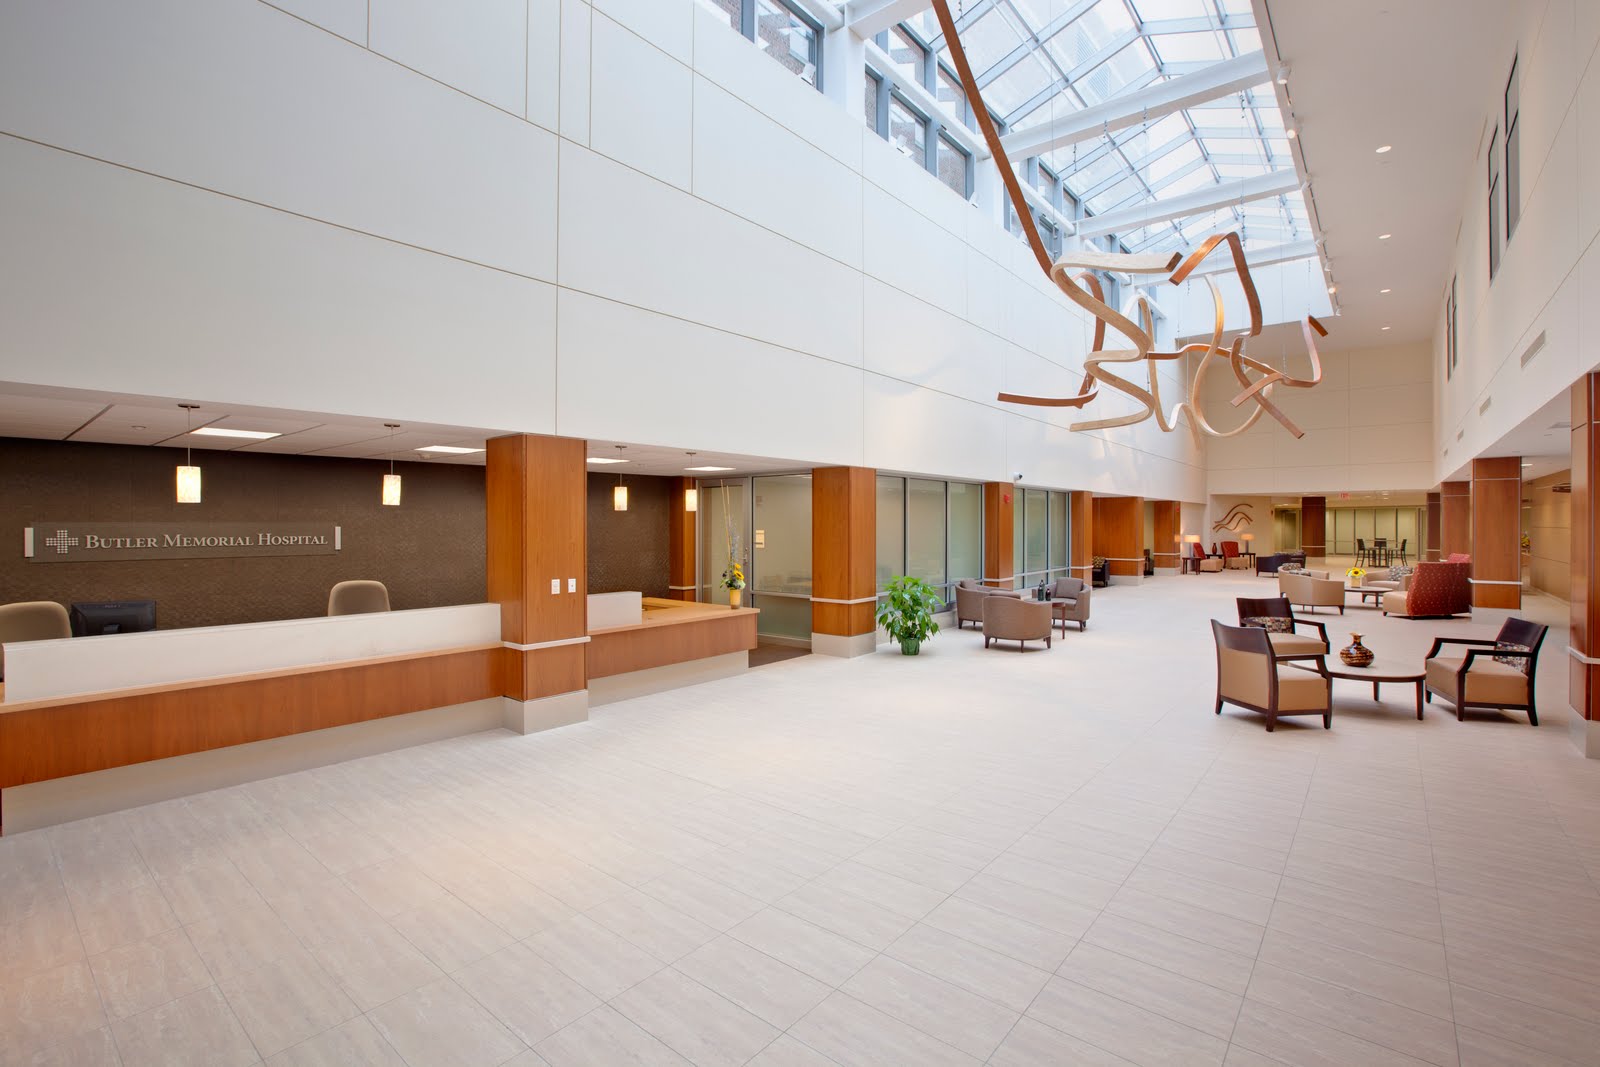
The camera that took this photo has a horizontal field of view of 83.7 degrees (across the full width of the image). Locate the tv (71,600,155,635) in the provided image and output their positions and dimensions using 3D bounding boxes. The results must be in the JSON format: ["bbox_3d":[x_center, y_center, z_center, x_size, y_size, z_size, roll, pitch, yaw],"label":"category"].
[{"bbox_3d":[-7.379,0.863,9.660,0.750,0.421,0.676,0,2,-44],"label":"tv"}]

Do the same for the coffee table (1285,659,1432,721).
[{"bbox_3d":[7.109,1.809,11.464,1.202,0.448,1.239,1,-5,-3],"label":"coffee table"}]

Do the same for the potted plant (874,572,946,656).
[{"bbox_3d":[1.866,1.402,15.352,1.171,1.312,1.242,-1,-2,-18],"label":"potted plant"}]

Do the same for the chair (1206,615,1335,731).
[{"bbox_3d":[5.896,1.747,11.340,0.897,1.129,1.305,0,0,0],"label":"chair"}]

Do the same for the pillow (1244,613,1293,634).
[{"bbox_3d":[7.237,1.388,13.899,0.630,0.198,0.653,0,0,28],"label":"pillow"}]

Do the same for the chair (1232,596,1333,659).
[{"bbox_3d":[7.621,1.472,14.174,0.761,1.164,1.013,-1,-5,-3],"label":"chair"}]
